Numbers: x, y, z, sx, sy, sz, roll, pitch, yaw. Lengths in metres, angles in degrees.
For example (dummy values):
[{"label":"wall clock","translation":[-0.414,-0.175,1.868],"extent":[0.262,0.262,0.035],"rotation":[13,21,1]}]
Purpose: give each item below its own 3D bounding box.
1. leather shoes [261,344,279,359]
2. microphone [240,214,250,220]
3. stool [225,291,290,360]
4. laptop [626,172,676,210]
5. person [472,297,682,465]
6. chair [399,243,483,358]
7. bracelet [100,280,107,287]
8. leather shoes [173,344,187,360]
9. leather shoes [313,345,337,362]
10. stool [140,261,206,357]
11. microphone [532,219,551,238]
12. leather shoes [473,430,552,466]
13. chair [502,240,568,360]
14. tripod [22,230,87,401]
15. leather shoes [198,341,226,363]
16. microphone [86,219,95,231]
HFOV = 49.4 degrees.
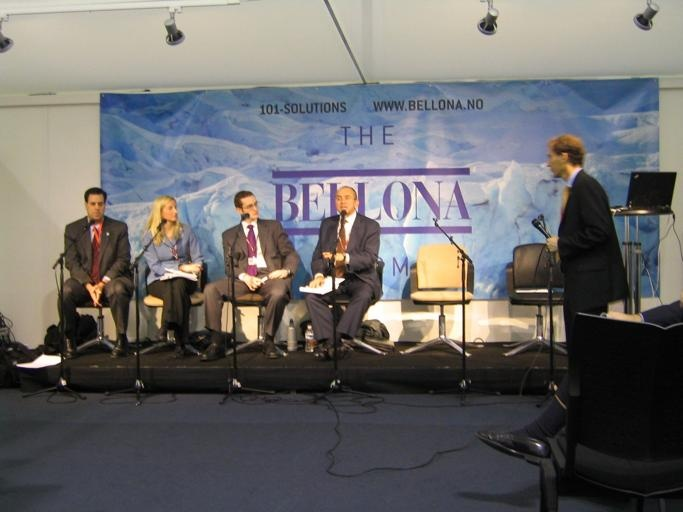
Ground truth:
[{"label":"leather shoes","translation":[-0.671,0.863,6.831],"extent":[0.202,0.134,0.104],"rotation":[0,5,33]},{"label":"microphone","translation":[-0.958,-0.386,7.313],"extent":[0.030,0.053,0.046],"rotation":[26,21,13]},{"label":"stool","translation":[-0.827,0.680,7.090],"extent":[0.552,0.615,0.597],"rotation":[0,-13,-9]},{"label":"laptop","translation":[2.679,-0.551,6.488],"extent":[0.389,0.405,0.318],"rotation":[2,7,7]},{"label":"person","translation":[1.498,0.766,4.711],"extent":[1.153,1.333,0.913],"rotation":[3,-2,24]},{"label":"chair","translation":[0.958,0.394,7.209],"extent":[0.702,1.058,0.702],"rotation":[-1,-2,26]},{"label":"bracelet","translation":[-2.296,0.264,7.116],"extent":[0.050,0.048,0.049],"rotation":[10,-32,-42]},{"label":"leather shoes","translation":[-1.515,0.866,6.936],"extent":[0.125,0.131,0.234],"rotation":[-3,4,-13]},{"label":"leather shoes","translation":[-0.182,0.866,6.733],"extent":[0.141,0.125,0.221],"rotation":[-4,5,-23]},{"label":"stool","translation":[-1.700,0.465,7.251],"extent":[0.636,0.984,0.652],"rotation":[8,9,2]},{"label":"microphone","translation":[1.790,-0.242,6.653],"extent":[0.072,0.252,0.069],"rotation":[-25,-25,-13]},{"label":"leather shoes","translation":[1.085,1.192,4.649],"extent":[0.430,0.150,0.176],"rotation":[15,-13,18]},{"label":"chair","translation":[1.842,0.393,7.060],"extent":[0.676,0.954,0.660],"rotation":[-4,0,-1]},{"label":"tripod","translation":[-2.664,0.590,6.707],"extent":[0.479,1.260,1.354],"rotation":[-4,5,-23]},{"label":"leather shoes","translation":[-1.177,0.864,6.782],"extent":[0.257,0.152,0.153],"rotation":[-4,5,-27]},{"label":"microphone","translation":[-2.461,-0.296,7.235],"extent":[0.073,0.112,0.033],"rotation":[4,-19,8]}]
